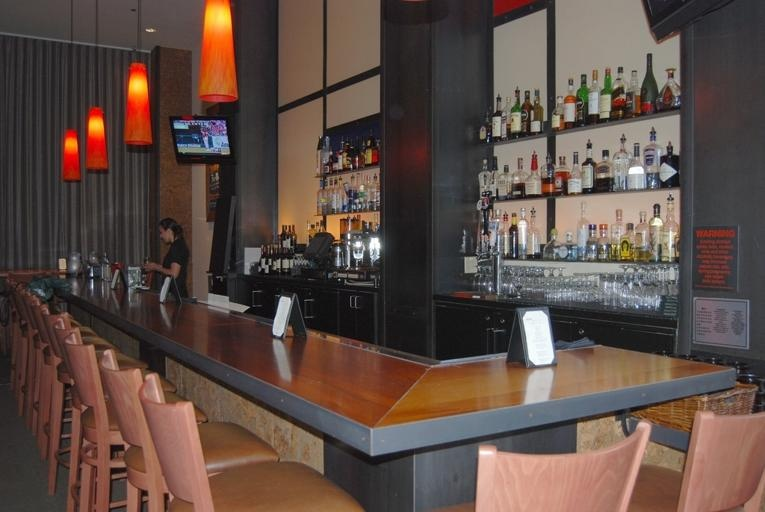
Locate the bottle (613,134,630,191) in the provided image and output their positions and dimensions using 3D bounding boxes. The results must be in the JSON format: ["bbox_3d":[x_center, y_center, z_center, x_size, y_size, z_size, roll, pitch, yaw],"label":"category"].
[{"bbox_3d":[1.817,-0.661,4.566,0.123,0.324,0.156,0,2,24],"label":"bottle"}]

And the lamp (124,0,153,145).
[{"bbox_3d":[-2.061,-1.307,4.994,0.194,0.741,0.426,-1,2,-23],"label":"lamp"}]

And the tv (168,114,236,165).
[{"bbox_3d":[-2.224,-1.460,7.434,0.722,0.580,0.104,-8,18,-21],"label":"tv"}]

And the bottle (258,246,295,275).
[{"bbox_3d":[-1.324,0.034,7.385,0.365,0.351,0.743,-2,2,-29],"label":"bottle"}]

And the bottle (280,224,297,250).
[{"bbox_3d":[-1.197,-0.238,7.527,0.203,0.318,0.451,-1,2,-8],"label":"bottle"}]

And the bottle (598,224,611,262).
[{"bbox_3d":[1.725,-0.114,4.652,0.094,0.284,0.342,0,2,20],"label":"bottle"}]

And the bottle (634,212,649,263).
[{"bbox_3d":[1.934,-0.149,4.453,0.096,0.366,0.294,0,2,23],"label":"bottle"}]

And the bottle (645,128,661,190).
[{"bbox_3d":[1.992,-0.722,4.424,0.102,0.453,0.172,0,2,25],"label":"bottle"}]

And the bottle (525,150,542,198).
[{"bbox_3d":[1.278,-0.681,5.059,0.205,0.356,0.215,0,6,0],"label":"bottle"}]

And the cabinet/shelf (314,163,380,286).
[{"bbox_3d":[-0.375,-0.343,6.445,0.413,1.302,1.314,1,-1,-30],"label":"cabinet/shelf"}]

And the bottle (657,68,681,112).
[{"bbox_3d":[2.088,-1.216,4.374,0.134,0.322,0.177,0,2,26],"label":"bottle"}]

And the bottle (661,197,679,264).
[{"bbox_3d":[2.089,-0.216,4.355,0.110,0.504,0.351,0,2,26],"label":"bottle"}]

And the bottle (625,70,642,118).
[{"bbox_3d":[1.894,-1.230,4.542,0.099,0.366,0.184,0,2,22],"label":"bottle"}]

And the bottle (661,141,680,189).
[{"bbox_3d":[2.064,-0.648,4.309,0.118,0.309,0.108,-1,2,0],"label":"bottle"}]

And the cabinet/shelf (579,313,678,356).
[{"bbox_3d":[1.609,0.498,3.958,0.098,0.229,0.616,-3,2,-44],"label":"cabinet/shelf"}]

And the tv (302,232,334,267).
[{"bbox_3d":[-0.706,-0.065,6.557,0.295,0.443,0.239,-2,-40,35],"label":"tv"}]

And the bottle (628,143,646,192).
[{"bbox_3d":[1.913,-0.675,4.514,0.123,0.359,0.224,0,2,23],"label":"bottle"}]

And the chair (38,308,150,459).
[{"bbox_3d":[-1.786,0.785,3.616,0.366,0.748,1.064,-1,4,-32],"label":"chair"}]

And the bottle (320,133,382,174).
[{"bbox_3d":[-0.380,-1.130,6.599,0.299,0.402,1.019,-3,6,-36],"label":"bottle"}]

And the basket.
[{"bbox_3d":[1.559,0.751,2.991,0.338,0.186,0.441,3,-14,-44],"label":"basket"}]

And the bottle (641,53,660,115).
[{"bbox_3d":[1.988,-1.284,4.458,0.129,0.465,0.190,0,2,24],"label":"bottle"}]

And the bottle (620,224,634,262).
[{"bbox_3d":[1.824,-0.106,4.454,0.099,0.284,0.135,0,2,22],"label":"bottle"}]

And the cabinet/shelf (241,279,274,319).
[{"bbox_3d":[-1.402,0.478,6.710,0.213,0.400,0.397,-1,3,-38],"label":"cabinet/shelf"}]

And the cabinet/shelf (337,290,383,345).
[{"bbox_3d":[-0.198,0.611,5.927,0.533,0.548,0.254,2,8,45],"label":"cabinet/shelf"}]
